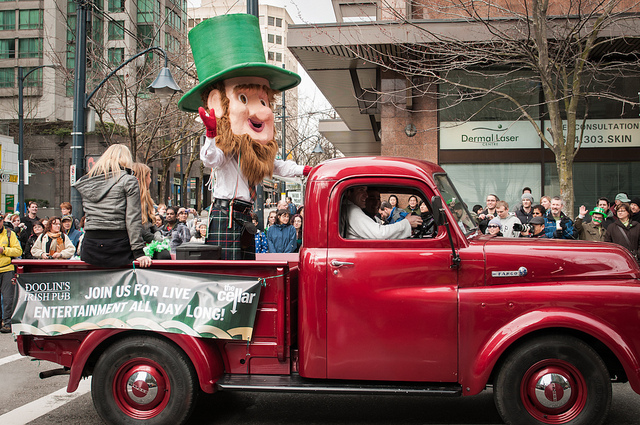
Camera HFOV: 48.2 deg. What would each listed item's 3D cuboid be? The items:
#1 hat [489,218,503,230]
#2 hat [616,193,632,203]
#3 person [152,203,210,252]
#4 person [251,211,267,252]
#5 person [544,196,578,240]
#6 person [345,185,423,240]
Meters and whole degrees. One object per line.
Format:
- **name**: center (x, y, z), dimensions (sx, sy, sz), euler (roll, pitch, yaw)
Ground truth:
- **hat**: center (3.195, 0.186, 13.008), dimensions (0.214, 0.213, 0.272), euler (-1, -26, 20)
- **hat**: center (6.769, -0.323, 15.952), dimensions (0.383, 0.180, 0.296), euler (-10, -10, 42)
- **person**: center (-3.015, 0.324, 15.539), dimensions (1.002, 1.882, 0.608), euler (-6, -24, 4)
- **person**: center (-1.226, 0.396, 14.449), dimensions (0.220, 0.312, 0.839), euler (-16, 27, -7)
- **person**: center (4.678, 0.257, 14.096), dimensions (0.763, 0.968, 0.585), euler (-2, 3, -3)
- **person**: center (0.882, 0.027, 10.135), dimensions (0.942, 0.555, 0.802), euler (-4, 3, -18)
